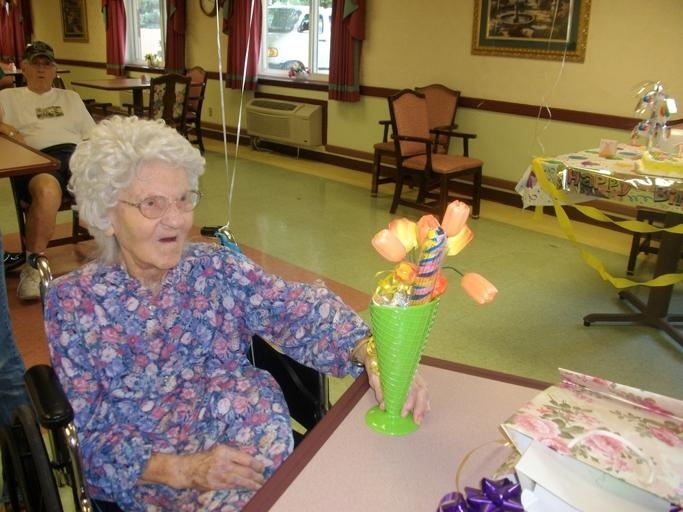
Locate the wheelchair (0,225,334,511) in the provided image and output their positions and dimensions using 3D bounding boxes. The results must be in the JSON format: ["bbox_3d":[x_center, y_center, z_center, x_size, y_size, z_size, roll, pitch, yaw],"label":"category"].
[{"bbox_3d":[-1.398,0.576,4.142,1.512,1.891,1.272,13,23,41],"label":"wheelchair"}]

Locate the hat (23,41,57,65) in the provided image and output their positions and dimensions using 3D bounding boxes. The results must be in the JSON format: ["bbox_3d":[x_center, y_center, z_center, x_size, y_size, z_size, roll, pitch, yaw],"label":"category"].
[{"bbox_3d":[-2.393,-1.667,4.358,0.229,0.187,0.314,-5,8,-29],"label":"hat"}]

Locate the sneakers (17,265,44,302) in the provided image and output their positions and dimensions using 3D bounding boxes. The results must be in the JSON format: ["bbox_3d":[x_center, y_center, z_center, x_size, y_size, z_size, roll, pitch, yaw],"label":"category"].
[{"bbox_3d":[-1.748,0.165,3.099,0.117,0.225,0.094,-10,-10,-11],"label":"sneakers"}]

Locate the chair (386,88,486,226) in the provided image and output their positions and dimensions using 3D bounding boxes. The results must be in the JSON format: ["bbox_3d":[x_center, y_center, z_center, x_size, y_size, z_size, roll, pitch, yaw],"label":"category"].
[{"bbox_3d":[0.892,-1.012,5.380,0.771,1.228,0.738,17,25,42],"label":"chair"}]

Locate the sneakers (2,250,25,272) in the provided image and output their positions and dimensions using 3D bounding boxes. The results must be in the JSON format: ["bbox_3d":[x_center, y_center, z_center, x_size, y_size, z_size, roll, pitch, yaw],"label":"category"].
[{"bbox_3d":[-2.198,0.037,3.708,0.145,0.104,0.047,-37,44,-25],"label":"sneakers"}]

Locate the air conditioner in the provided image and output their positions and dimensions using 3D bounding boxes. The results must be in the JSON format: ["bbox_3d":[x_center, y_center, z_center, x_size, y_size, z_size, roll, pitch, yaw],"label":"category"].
[{"bbox_3d":[-0.857,-1.847,7.556,1.111,0.582,0.336,15,28,26],"label":"air conditioner"}]

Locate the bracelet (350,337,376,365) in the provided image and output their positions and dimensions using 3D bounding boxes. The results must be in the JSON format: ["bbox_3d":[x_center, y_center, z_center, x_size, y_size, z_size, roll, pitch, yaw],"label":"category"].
[{"bbox_3d":[0.063,0.265,1.473,0.057,0.072,0.066,-22,53,25],"label":"bracelet"}]
